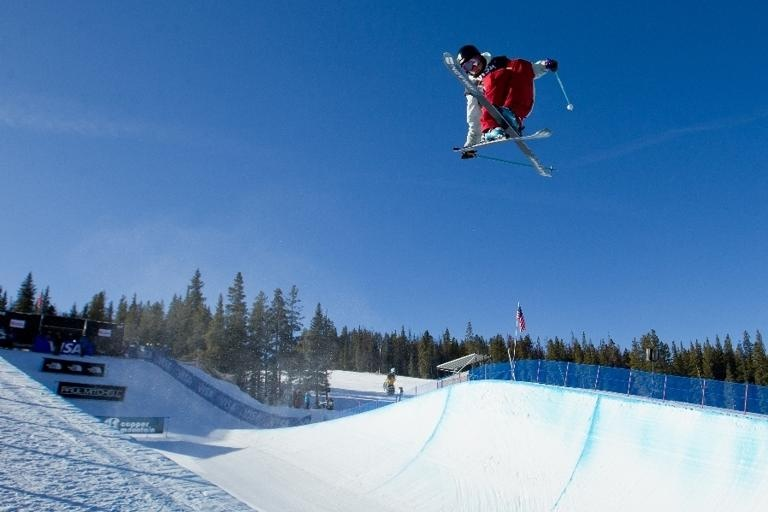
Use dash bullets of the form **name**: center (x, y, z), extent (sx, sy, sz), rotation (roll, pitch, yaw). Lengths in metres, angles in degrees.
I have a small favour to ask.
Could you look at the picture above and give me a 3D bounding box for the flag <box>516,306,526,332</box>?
- **flag**: center (8.295, 3.858, 32.782), extent (0.405, 1.562, 1.973), rotation (-1, -14, 17)
